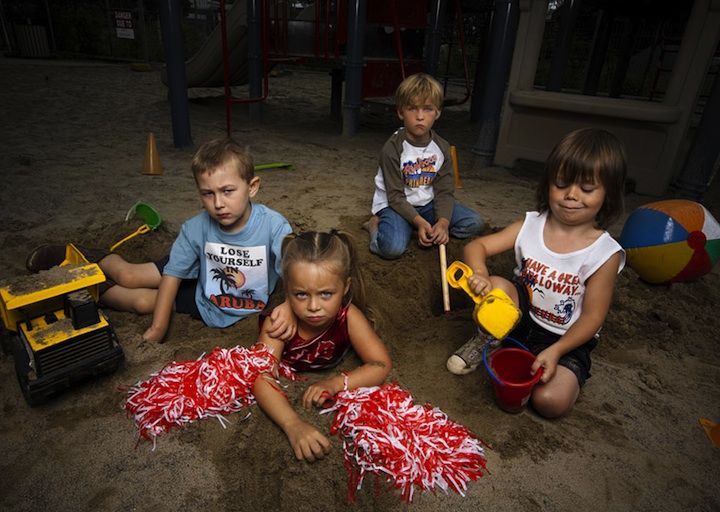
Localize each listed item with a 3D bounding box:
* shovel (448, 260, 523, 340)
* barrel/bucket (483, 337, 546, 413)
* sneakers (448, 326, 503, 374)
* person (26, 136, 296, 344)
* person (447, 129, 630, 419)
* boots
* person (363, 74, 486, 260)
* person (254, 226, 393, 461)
[{"bbox_3d":[0.649,0.245,2.552,0.498,0.259,0.196,48,4,21],"label":"shovel"},{"bbox_3d":[0.756,0.582,2.445,0.286,0.239,0.349,-2,40,6],"label":"barrel/bucket"},{"bbox_3d":[0.618,0.509,2.588,0.250,0.156,0.098,-33,80,-12],"label":"sneakers"},{"bbox_3d":[-1.054,-0.144,3.152,1.209,1.383,1.145,2,24,-7],"label":"person"},{"bbox_3d":[0.931,0.071,2.413,0.754,1.276,0.702,6,29,5],"label":"person"},{"bbox_3d":[-1.707,-0.010,3.140,0.644,0.348,0.552,-1,16,-14],"label":"boots"},{"bbox_3d":[0.480,-0.484,3.531,0.757,1.398,0.710,10,25,-8],"label":"person"},{"bbox_3d":[-0.189,0.321,2.346,0.672,0.699,1.119,0,26,2],"label":"person"}]
